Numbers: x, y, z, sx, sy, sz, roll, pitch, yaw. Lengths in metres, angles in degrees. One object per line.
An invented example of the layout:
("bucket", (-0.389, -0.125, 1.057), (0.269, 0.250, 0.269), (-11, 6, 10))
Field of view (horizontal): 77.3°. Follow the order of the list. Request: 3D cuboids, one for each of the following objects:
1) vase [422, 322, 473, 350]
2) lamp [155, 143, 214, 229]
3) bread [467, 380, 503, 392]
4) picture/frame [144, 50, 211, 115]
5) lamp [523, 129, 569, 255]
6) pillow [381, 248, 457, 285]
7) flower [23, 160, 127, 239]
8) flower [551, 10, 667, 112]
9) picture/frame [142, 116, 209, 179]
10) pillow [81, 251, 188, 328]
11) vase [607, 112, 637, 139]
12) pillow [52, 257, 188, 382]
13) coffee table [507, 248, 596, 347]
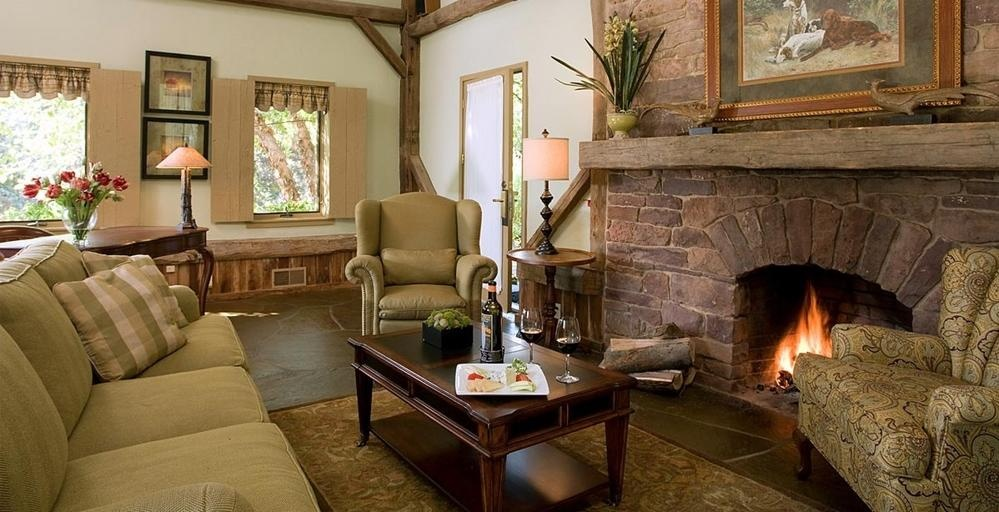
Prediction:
("vase", (-0.445, 0.616, 4.990), (0.258, 0.098, 0.247), (1, 1, -31))
("lamp", (-3.577, -0.751, 7.111), (0.663, 0.843, 0.627), (-4, -3, 7))
("bread", (-0.104, 0.906, 4.365), (0.247, 0.071, 0.077), (-1, 11, -4))
("picture/frame", (-4.198, -2.223, 8.032), (0.997, 0.922, 0.072), (0, 0, -29))
("lamp", (0.481, -0.697, 6.596), (0.464, 1.259, 0.677), (0, 11, 3))
("pillow", (-0.840, 0.118, 6.537), (0.782, 0.366, 0.186), (-2, 11, -10))
("flower", (-3.906, -0.516, 5.843), (0.762, 0.511, 0.739), (7, 1, 18))
("flower", (1.042, -1.904, 6.251), (1.154, 0.960, 1.247), (-2, 10, 33))
("picture/frame", (-4.107, -1.369, 7.813), (1.071, 0.954, 0.068), (1, -2, -27))
("pillow", (-2.941, 0.241, 4.914), (0.199, 0.603, 0.680), (-27, -17, 33))
("vase", (1.204, -1.282, 6.157), (0.298, 0.196, 0.281), (0, 2, -6))
("pillow", (-2.772, 0.441, 4.614), (0.275, 0.778, 0.895), (-31, 11, 22))
("coffee table", (0.426, 0.385, 6.816), (1.082, 1.055, 1.041), (5, 13, 22))
